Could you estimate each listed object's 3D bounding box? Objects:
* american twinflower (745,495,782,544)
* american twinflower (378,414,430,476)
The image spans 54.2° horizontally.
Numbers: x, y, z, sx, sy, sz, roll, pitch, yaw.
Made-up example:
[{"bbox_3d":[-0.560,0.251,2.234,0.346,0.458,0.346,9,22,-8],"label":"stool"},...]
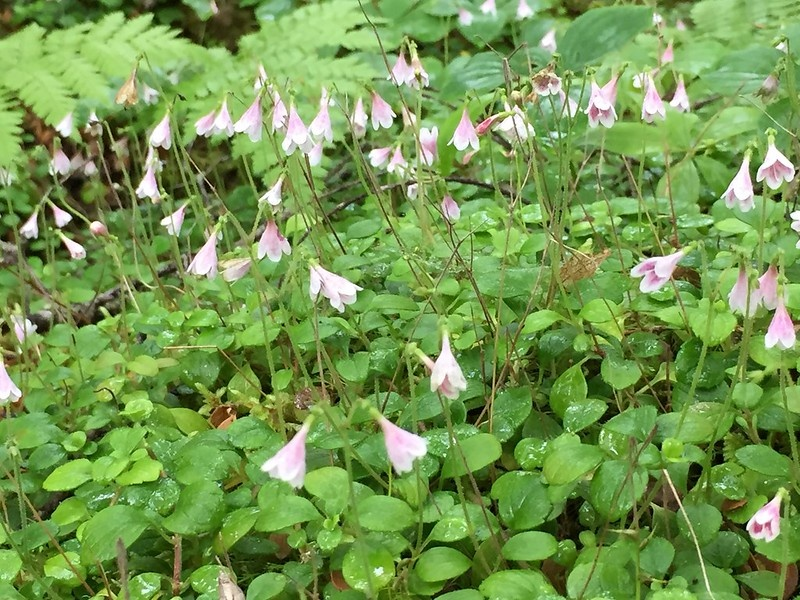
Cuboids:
[{"bbox_3d":[1.168,0.715,2.490,0.095,0.078,0.182,-13,12,26],"label":"american twinflower"},{"bbox_3d":[-0.003,0.427,2.311,0.110,0.078,0.211,-25,70,-22],"label":"american twinflower"}]
